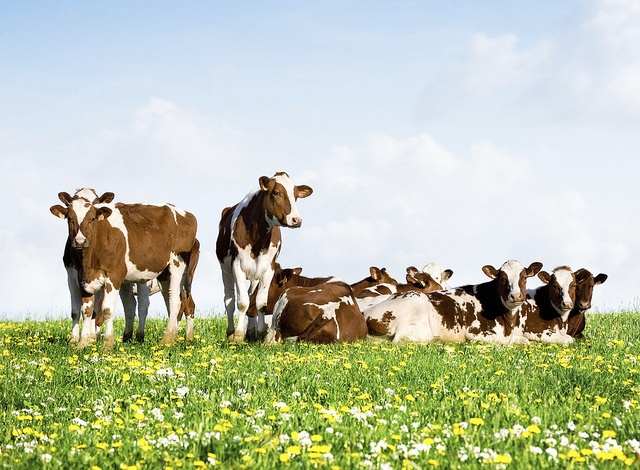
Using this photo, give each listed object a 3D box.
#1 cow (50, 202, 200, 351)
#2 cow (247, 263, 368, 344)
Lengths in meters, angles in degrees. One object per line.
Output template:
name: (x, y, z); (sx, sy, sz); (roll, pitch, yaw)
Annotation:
cow: (-4.193, 0.888, 17.662); (1.243, 3.111, 4.360); (2, -1, 26)
cow: (-0.364, 1.558, 17.815); (1.424, 1.871, 3.425); (2, 3, -20)
